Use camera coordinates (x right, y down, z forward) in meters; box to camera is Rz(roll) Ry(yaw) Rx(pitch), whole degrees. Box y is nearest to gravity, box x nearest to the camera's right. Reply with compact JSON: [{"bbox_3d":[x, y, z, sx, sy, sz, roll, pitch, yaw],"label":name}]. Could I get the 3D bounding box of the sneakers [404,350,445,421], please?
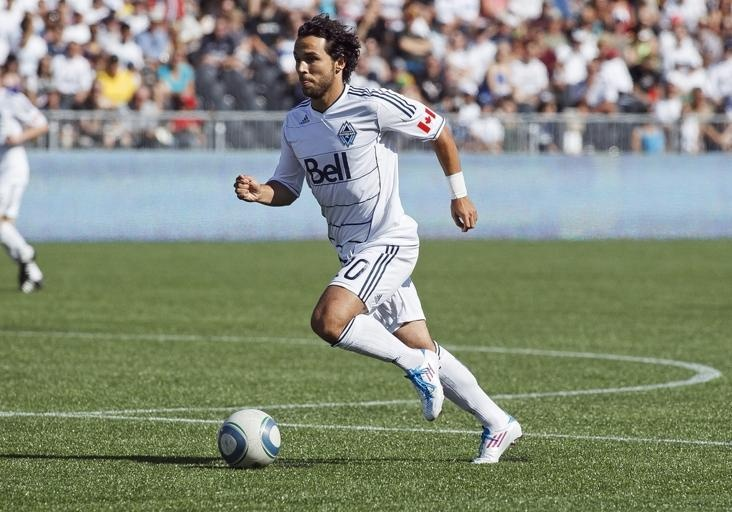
[{"bbox_3d":[0.466,1.015,11.148,0.306,0.592,0.213,-8,-7,-22],"label":"sneakers"}]
